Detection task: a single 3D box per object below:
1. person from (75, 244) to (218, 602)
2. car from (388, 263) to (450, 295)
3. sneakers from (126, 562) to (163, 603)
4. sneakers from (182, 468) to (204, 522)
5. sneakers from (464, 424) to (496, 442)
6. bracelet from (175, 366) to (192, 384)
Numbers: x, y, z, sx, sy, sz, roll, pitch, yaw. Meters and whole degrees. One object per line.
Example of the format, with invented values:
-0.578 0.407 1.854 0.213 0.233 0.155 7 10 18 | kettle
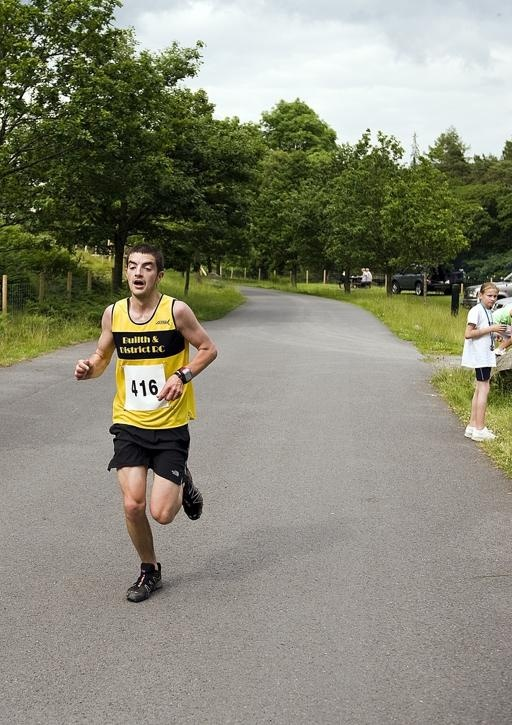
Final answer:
-0.582 0.280 3.352 0.602 1.762 0.506 1 2 16 | person
10.485 -4.942 40.901 2.739 1.884 8.090 1 2 -4 | car
-0.542 1.108 3.270 0.075 0.100 0.222 -3 4 17 | sneakers
-0.336 0.800 3.797 0.120 0.155 0.352 -37 -4 -6 | sneakers
2.536 0.834 7.432 0.329 0.138 0.131 1 6 -8 | sneakers
-0.345 0.072 3.260 0.059 0.092 0.095 -24 10 -8 | bracelet
